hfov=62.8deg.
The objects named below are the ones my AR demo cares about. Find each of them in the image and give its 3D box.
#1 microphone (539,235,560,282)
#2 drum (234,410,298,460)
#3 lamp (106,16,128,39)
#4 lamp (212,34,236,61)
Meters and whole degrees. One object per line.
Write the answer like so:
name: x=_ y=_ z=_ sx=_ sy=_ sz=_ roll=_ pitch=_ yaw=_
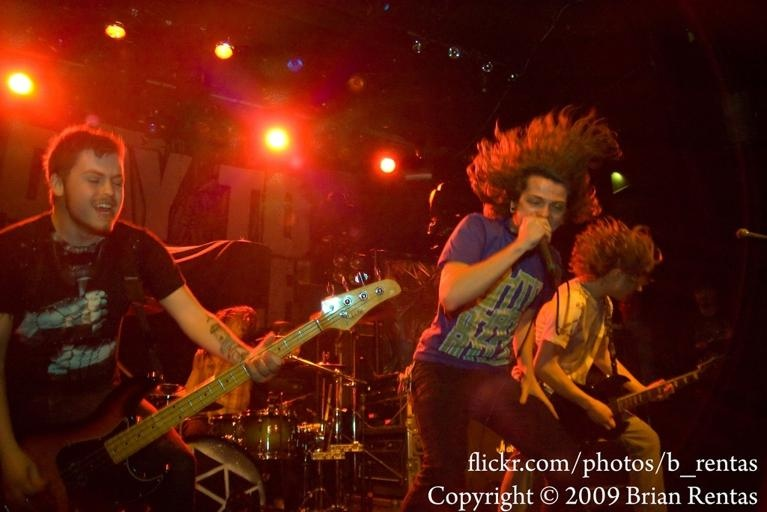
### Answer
microphone: x=1.532 y=0.052 z=5.647 sx=0.170 sy=0.618 sz=0.117 roll=4 pitch=17 yaw=21
drum: x=-1.478 y=2.329 z=8.149 sx=0.655 sy=0.464 sz=0.649 roll=-1 pitch=-13 yaw=0
lamp: x=-3.788 y=-3.183 z=8.872 sx=0.269 sy=0.164 sz=0.242 roll=2 pitch=-17 yaw=5
lamp: x=-2.381 y=-3.086 z=9.451 sx=0.350 sy=0.170 sz=0.299 roll=-12 pitch=-23 yaw=41
